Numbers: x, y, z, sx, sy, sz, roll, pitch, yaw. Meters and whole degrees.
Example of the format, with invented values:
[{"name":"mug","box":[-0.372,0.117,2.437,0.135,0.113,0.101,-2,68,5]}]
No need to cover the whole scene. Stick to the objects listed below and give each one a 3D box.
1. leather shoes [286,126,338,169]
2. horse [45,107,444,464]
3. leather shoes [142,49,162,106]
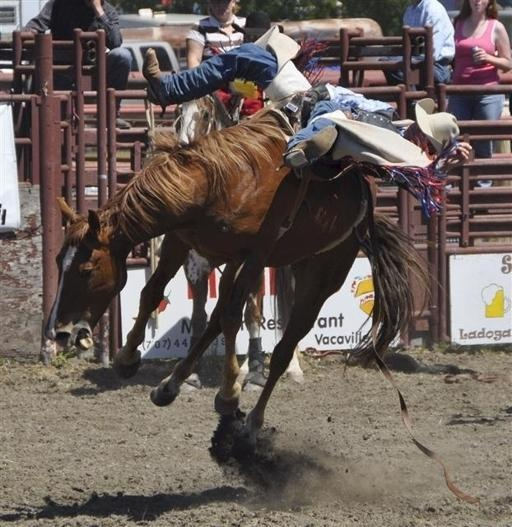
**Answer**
[{"name":"leather shoes","box":[0.321,-0.637,5.933,0.295,0.125,0.177,-37,4,-23]},{"name":"horse","box":[-0.121,0.068,6.585,2.287,1.994,0.768,-2,12,-12]},{"name":"leather shoes","box":[-0.560,-1.065,6.192,0.100,0.343,0.124,-16,31,-26]}]
